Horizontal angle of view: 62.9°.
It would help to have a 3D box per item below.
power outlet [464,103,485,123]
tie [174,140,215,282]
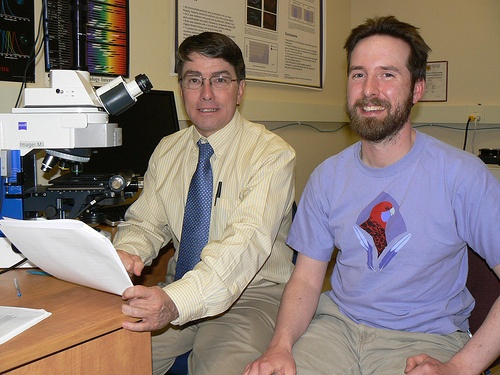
[{"bbox_3d":[1.912,-0.629,3.458,0.137,0.148,0.079,-25,-14,41],"label":"power outlet"},{"bbox_3d":[-0.207,0.087,1.617,0.120,0.508,0.228,3,11,7],"label":"tie"}]
